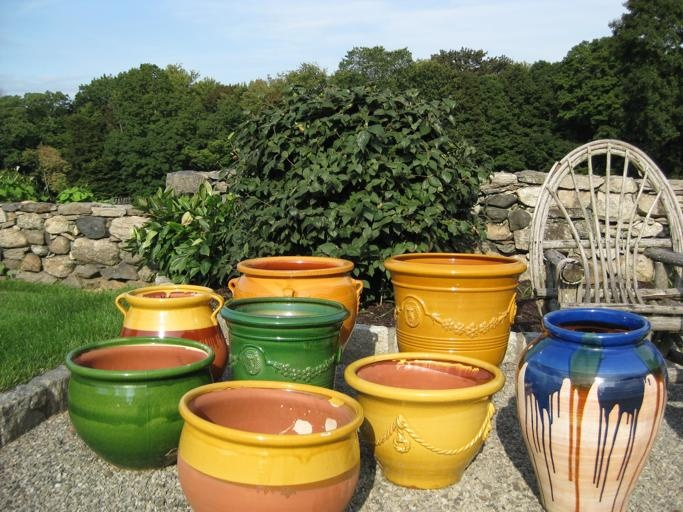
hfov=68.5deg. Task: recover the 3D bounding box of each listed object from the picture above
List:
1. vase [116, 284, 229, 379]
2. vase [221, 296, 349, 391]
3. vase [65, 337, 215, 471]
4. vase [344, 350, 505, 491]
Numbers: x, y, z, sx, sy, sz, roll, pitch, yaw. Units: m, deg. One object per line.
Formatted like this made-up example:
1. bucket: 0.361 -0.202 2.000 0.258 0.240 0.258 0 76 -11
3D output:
1. vase: -1.089 0.485 3.141 0.644 0.521 0.620 0 8 -40
2. vase: -0.312 0.428 2.713 0.569 0.572 0.555 0 0 -12
3. vase: -1.019 0.701 2.697 0.691 0.487 0.703 1 -2 2
4. vase: 0.368 0.758 2.391 0.687 0.453 0.690 1 -1 20
